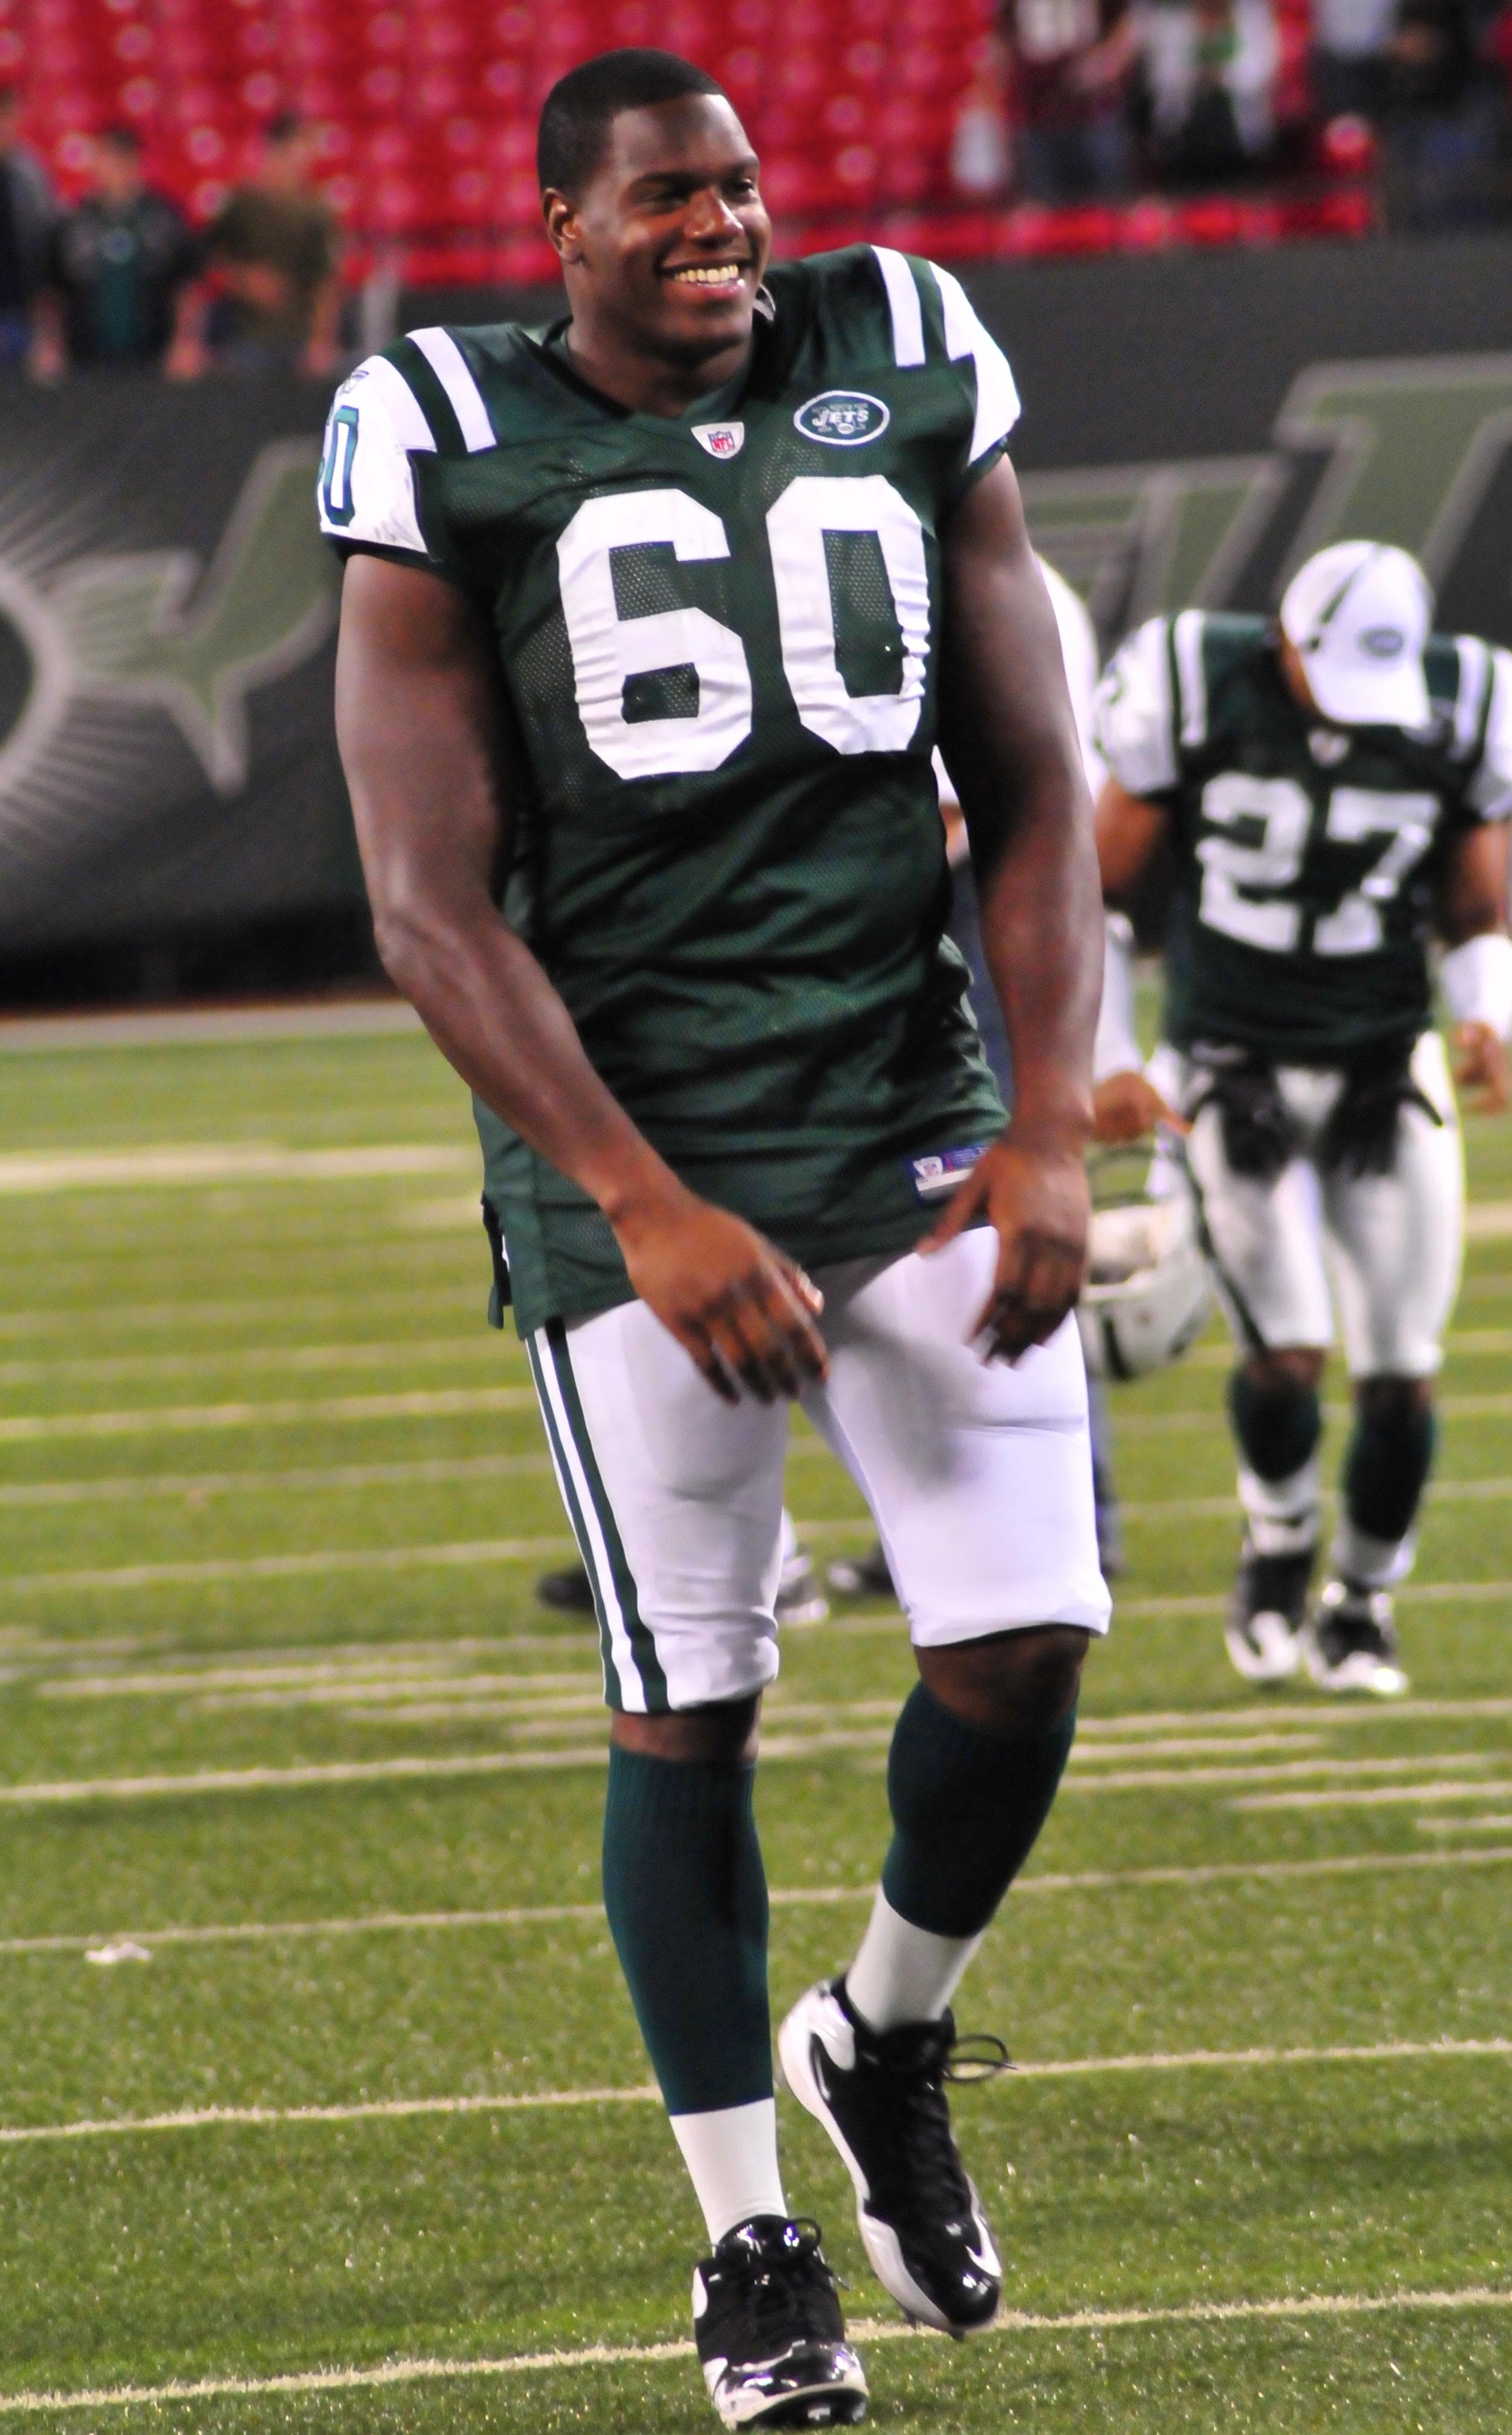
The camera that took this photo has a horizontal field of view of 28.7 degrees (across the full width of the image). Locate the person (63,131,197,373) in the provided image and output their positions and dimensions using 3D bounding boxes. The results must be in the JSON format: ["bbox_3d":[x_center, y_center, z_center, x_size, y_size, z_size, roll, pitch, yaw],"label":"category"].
[{"bbox_3d":[-2.048,-3.099,9.491,0.462,0.701,0.470,-10,35,-3],"label":"person"}]

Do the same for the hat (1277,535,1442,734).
[{"bbox_3d":[0.662,-0.629,3.242,0.215,0.228,0.212,5,9,32],"label":"hat"}]

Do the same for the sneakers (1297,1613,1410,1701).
[{"bbox_3d":[0.673,0.496,3.337,0.085,0.112,0.120,5,-12,-40],"label":"sneakers"}]

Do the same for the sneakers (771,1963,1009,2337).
[{"bbox_3d":[0.086,0.579,1.887,0.085,0.111,0.240,-1,48,-42],"label":"sneakers"}]

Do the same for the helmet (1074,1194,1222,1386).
[{"bbox_3d":[0.465,0.076,3.574,0.208,0.226,0.217,-2,12,9],"label":"helmet"}]
